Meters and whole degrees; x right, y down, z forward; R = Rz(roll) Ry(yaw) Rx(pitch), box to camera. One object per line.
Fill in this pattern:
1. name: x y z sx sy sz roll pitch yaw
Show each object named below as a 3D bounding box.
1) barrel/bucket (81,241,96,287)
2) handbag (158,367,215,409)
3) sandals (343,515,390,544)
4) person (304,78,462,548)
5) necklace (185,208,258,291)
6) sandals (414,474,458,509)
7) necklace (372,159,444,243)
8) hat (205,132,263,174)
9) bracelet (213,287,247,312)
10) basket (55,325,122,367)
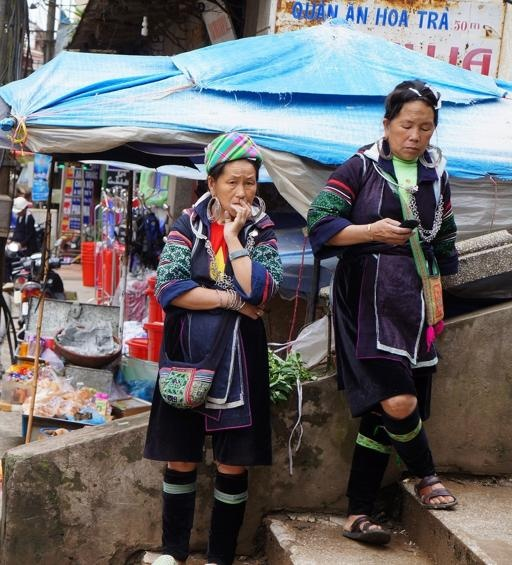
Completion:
1. barrel/bucket: -4.049 -0.434 13.343 0.275 1.053 0.703 0 7 -20
2. handbag: -0.263 0.405 2.167 0.215 0.116 0.057 -2 -12 29
3. sandals: 0.484 1.091 2.459 0.107 0.087 0.249 13 -16 -30
4. person: 0.559 0.155 2.425 0.708 2.013 0.515 2 7 3
5. necklace: -0.161 -0.136 2.257 0.121 0.300 0.260 -5 13 22
6. sandals: 0.803 0.923 2.478 0.106 0.070 0.203 -2 -2 -7
7. necklace: 0.661 -0.334 2.416 0.279 0.351 0.075 -8 2 -27
8. hat: -0.118 -0.537 2.327 0.208 0.118 0.194 2 -19 -39
9. bracelet: -0.107 0.066 2.222 0.104 0.038 0.080 24 11 23
10. basket: -1.518 0.594 5.024 0.589 0.363 0.490 0 6 -18
